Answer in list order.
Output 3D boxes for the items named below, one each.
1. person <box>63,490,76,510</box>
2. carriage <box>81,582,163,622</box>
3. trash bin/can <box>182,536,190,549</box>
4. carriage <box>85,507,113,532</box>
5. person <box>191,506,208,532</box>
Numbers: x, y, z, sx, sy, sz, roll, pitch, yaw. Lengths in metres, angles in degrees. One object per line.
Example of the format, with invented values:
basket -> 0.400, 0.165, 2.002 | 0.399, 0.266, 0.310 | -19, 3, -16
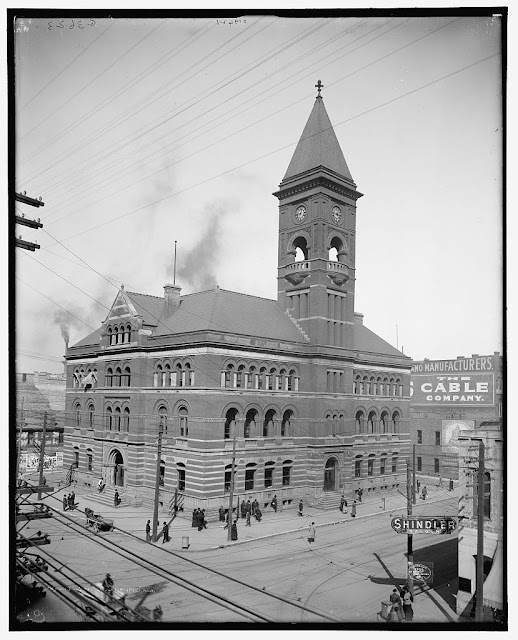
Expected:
person -> -8.090, 7.693, 30.898 | 0.372, 0.915, 0.360 | 9, -45, -21
carriage -> -4.277, 9.101, 23.435 | 1.599, 0.712, 1.233 | 16, 2, 33
trash bin/can -> -2.707, 8.228, 26.805 | 0.277, 0.537, 0.130 | 4, -18, -7
carriage -> -6.369, 7.913, 28.698 | 0.607, 0.595, 1.061 | 8, -12, -39
person -> -2.396, 7.956, 29.085 | 0.534, 1.182, 0.574 | -2, 1, -21
